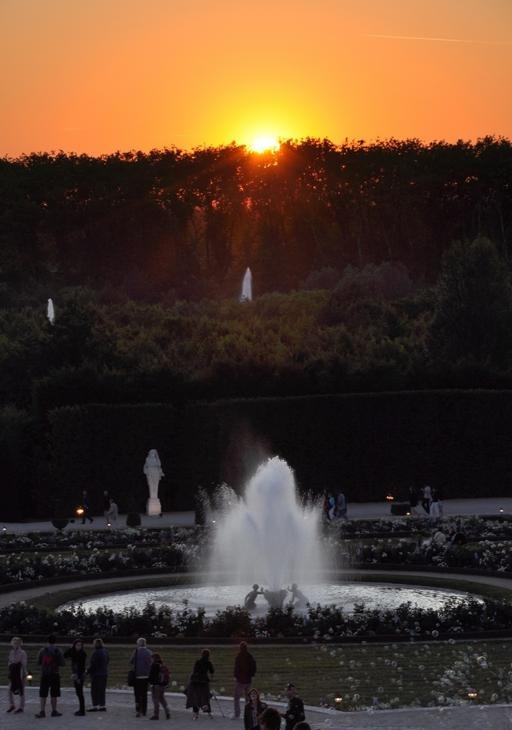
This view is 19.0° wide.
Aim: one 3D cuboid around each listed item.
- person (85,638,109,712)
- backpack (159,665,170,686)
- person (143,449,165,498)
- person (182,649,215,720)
[{"bbox_3d":[-1.913,3.750,18.669,0.238,1.022,0.574,2,10,-7],"label":"person"},{"bbox_3d":[-1.080,3.727,18.311,0.088,0.289,0.266,4,11,5],"label":"backpack"},{"bbox_3d":[-2.839,3.028,42.798,0.545,1.626,1.312,2,11,-4],"label":"person"},{"bbox_3d":[-0.666,3.805,18.382,0.322,0.955,0.470,3,10,-2],"label":"person"}]
